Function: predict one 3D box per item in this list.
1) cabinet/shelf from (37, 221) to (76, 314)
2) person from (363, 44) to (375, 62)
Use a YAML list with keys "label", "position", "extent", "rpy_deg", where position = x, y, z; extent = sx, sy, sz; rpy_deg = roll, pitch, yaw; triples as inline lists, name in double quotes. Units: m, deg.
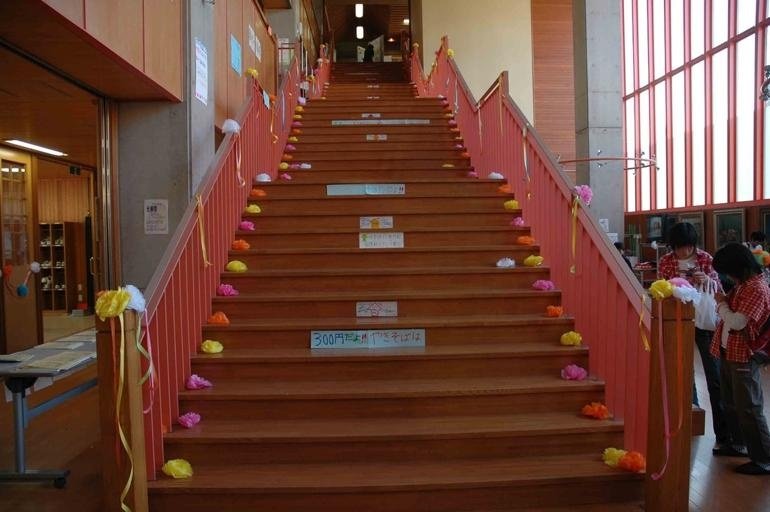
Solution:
- label: "cabinet/shelf"
  position: [-6.477, 0.188, 13.078]
  extent: [0.581, 1.624, 0.406]
  rpy_deg: [-1, 8, -29]
- label: "person"
  position: [-0.575, -7.170, 23.689]
  extent: [0.353, 0.831, 1.177]
  rpy_deg: [-1, 2, -1]
